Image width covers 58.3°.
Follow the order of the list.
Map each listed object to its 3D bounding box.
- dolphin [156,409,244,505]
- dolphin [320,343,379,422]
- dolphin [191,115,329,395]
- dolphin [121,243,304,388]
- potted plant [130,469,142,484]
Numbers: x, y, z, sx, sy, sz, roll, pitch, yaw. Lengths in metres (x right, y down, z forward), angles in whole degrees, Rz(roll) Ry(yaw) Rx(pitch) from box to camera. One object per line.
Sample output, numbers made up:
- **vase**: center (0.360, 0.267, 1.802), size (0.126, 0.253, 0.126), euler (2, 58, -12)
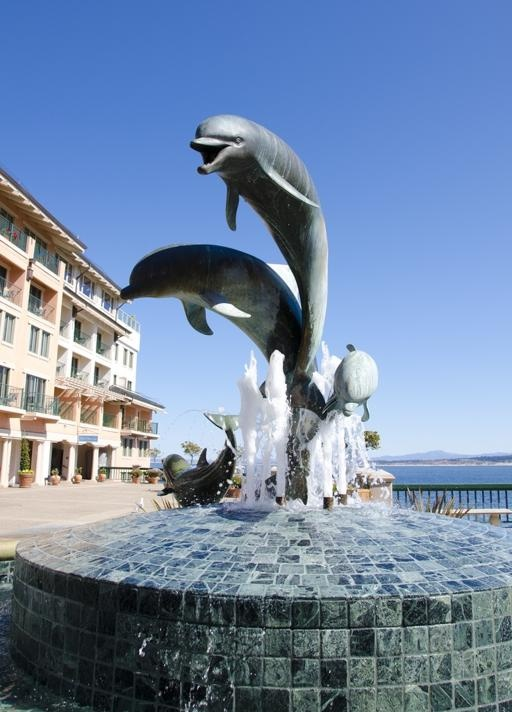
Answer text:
- **dolphin**: center (-0.731, 1.456, 6.061), size (0.809, 1.470, 1.623), euler (-1, -1, -19)
- **dolphin**: center (0.887, 0.323, 4.414), size (0.514, 0.863, 0.520), euler (5, -2, -30)
- **dolphin**: center (0.119, -1.340, 5.335), size (0.955, 1.322, 2.889), euler (12, -27, 33)
- **dolphin**: center (-0.218, -0.736, 5.897), size (2.959, 1.392, 0.951), euler (14, -3, -26)
- **potted plant**: center (-8.673, 8.816, 33.530), size (0.876, 1.086, 1.044), euler (-1, 2, -32)
